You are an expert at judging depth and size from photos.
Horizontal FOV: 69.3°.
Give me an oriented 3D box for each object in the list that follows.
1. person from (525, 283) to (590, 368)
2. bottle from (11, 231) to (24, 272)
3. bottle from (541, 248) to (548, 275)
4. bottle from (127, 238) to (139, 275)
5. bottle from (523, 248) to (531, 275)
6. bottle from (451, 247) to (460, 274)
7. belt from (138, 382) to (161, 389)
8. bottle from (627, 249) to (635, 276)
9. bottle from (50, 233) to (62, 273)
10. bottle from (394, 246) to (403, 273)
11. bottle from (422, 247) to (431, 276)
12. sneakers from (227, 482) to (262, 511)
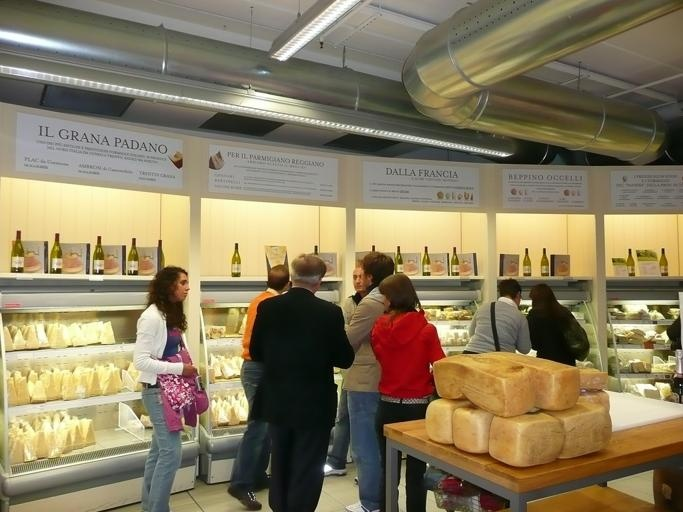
[{"bbox_3d":[2.246,0.728,5.148,0.574,0.872,0.293,-1,2,18],"label":"person"},{"bbox_3d":[-2.897,-0.039,4.410,0.098,0.316,0.252,-3,2,-34],"label":"bottle"},{"bbox_3d":[2.760,0.084,6.691,0.103,0.353,0.581,-1,2,22],"label":"bottle"},{"bbox_3d":[-2.101,0.009,4.960,0.123,0.248,0.242,-3,2,-23],"label":"bottle"},{"bbox_3d":[2.517,0.083,6.696,0.091,0.356,0.515,-1,2,22],"label":"bottle"},{"bbox_3d":[1.459,0.075,6.369,0.121,0.353,0.225,-2,2,12],"label":"bottle"},{"bbox_3d":[-1.531,1.038,3.946,0.118,0.045,0.083,0,-3,-4],"label":"belt"},{"bbox_3d":[3.966,0.094,6.773,0.110,0.349,0.495,-1,2,30],"label":"bottle"},{"bbox_3d":[-2.668,-0.021,4.614,0.107,0.296,0.323,-3,2,-31],"label":"bottle"},{"bbox_3d":[0.717,0.050,6.146,0.095,0.282,0.178,-2,2,0],"label":"bottle"},{"bbox_3d":[1.066,0.109,6.209,0.113,0.282,0.100,-3,2,-16],"label":"bottle"},{"bbox_3d":[-0.868,2.185,4.528,0.379,0.154,0.127,25,-3,30],"label":"sneakers"}]
